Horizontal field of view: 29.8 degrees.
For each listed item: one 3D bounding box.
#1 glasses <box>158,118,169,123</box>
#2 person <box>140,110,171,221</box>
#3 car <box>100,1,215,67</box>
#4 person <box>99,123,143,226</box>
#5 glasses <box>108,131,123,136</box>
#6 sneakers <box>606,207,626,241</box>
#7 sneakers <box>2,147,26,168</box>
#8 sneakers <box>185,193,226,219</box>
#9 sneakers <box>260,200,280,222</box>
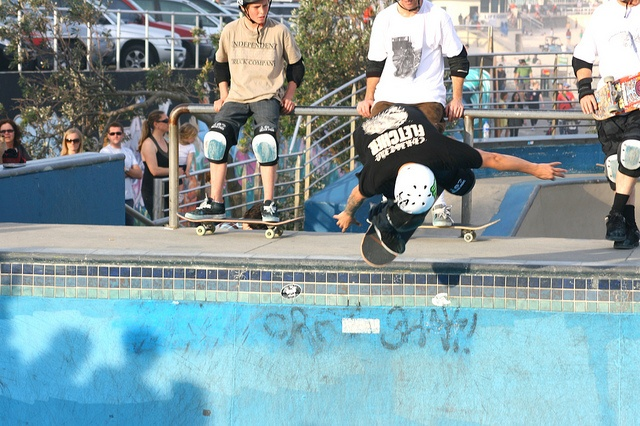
[{"bbox_3d":[-2.028,-1.212,15.744,0.150,0.058,0.163,-7,2,12],"label":"glasses"},{"bbox_3d":[-2.185,-0.656,15.862,0.366,1.406,0.645,-1,8,-10],"label":"person"},{"bbox_3d":[-2.995,-3.416,22.835,2.028,1.307,1.233,-1,13,1],"label":"car"},{"bbox_3d":[-2.611,-0.311,15.958,0.502,1.752,0.453,-9,20,-24],"label":"person"},{"bbox_3d":[-2.657,-1.032,15.619,0.161,0.048,0.075,-1,10,-11],"label":"glasses"},{"bbox_3d":[2.999,0.138,12.090,0.196,0.280,0.596,1,7,12],"label":"sneakers"},{"bbox_3d":[-3.345,-0.596,13.085,0.114,0.156,0.335,0,1,20],"label":"sneakers"},{"bbox_3d":[-1.190,-0.070,12.550,0.459,0.253,0.179,5,3,0],"label":"sneakers"},{"bbox_3d":[-0.506,-0.038,12.530,0.170,0.212,0.221,0,9,-5],"label":"sneakers"}]
